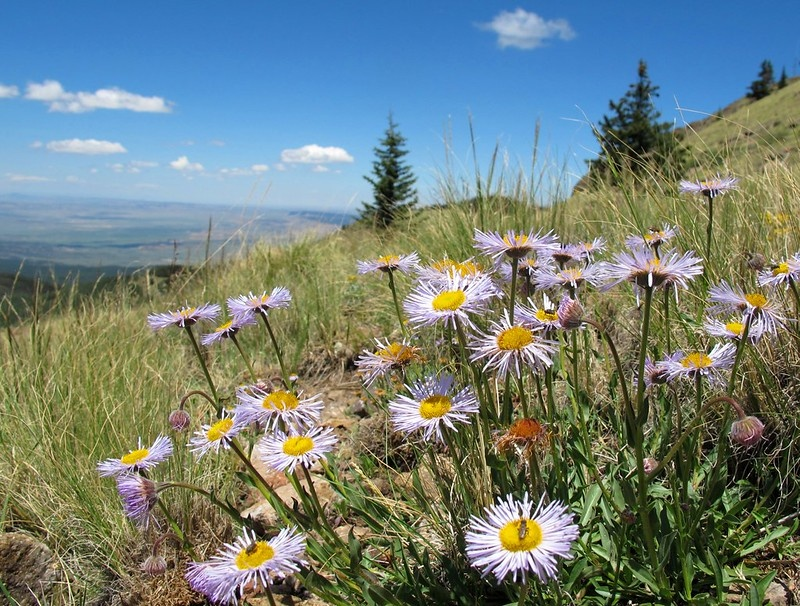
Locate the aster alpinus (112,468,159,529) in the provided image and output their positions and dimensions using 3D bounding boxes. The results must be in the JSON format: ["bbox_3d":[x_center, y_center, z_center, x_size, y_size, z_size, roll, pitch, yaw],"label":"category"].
[{"bbox_3d":[-1.085,0.810,2.453,0.209,0.158,0.113,3,-28,-29],"label":"aster alpinus"}]

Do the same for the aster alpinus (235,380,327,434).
[{"bbox_3d":[-0.523,0.503,2.630,0.263,0.137,0.295,20,14,13],"label":"aster alpinus"}]

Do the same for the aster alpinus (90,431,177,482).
[{"bbox_3d":[-1.203,0.711,2.682,0.283,0.162,0.324,-6,10,-39],"label":"aster alpinus"}]

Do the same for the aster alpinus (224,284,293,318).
[{"bbox_3d":[-0.750,-0.003,3.105,0.288,0.167,0.571,-2,8,-16],"label":"aster alpinus"}]

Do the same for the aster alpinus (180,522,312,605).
[{"bbox_3d":[-0.660,1.145,2.573,0.324,0.204,0.358,-8,24,40],"label":"aster alpinus"}]

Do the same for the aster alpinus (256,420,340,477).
[{"bbox_3d":[-0.440,0.699,2.563,0.246,0.116,0.258,16,42,29],"label":"aster alpinus"}]

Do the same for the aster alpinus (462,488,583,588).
[{"bbox_3d":[0.447,0.881,2.163,0.375,0.164,0.440,-15,8,4],"label":"aster alpinus"}]
